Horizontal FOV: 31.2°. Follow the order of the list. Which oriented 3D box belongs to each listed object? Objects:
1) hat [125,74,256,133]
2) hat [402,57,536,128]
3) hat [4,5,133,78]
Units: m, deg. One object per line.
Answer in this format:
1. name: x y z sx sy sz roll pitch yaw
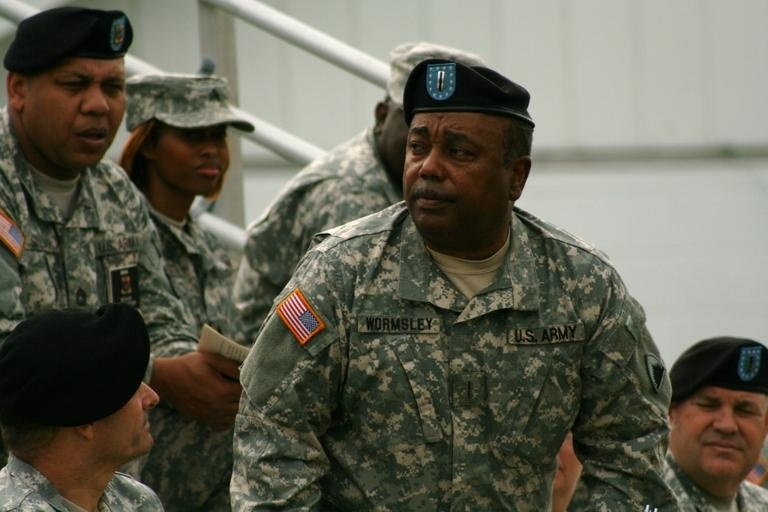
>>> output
1. hat: -1.200 -0.917 8.162 0.545 0.249 0.400 2 1 13
2. hat: 0.446 -0.818 6.961 0.672 0.261 0.771 5 -3 14
3. hat: -1.736 -1.151 7.317 0.466 0.175 0.444 -13 6 26
